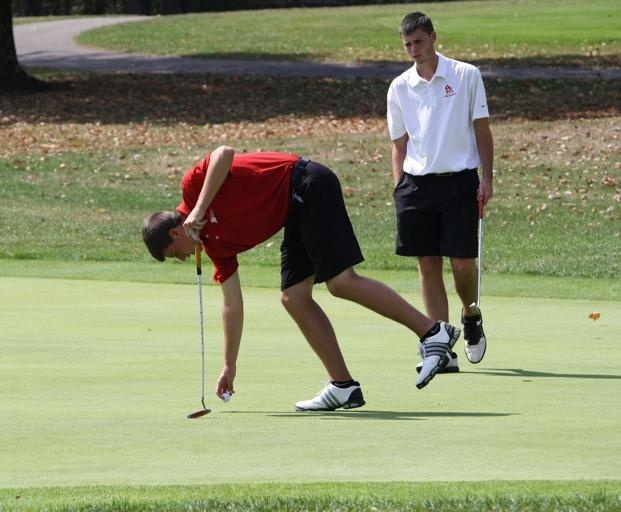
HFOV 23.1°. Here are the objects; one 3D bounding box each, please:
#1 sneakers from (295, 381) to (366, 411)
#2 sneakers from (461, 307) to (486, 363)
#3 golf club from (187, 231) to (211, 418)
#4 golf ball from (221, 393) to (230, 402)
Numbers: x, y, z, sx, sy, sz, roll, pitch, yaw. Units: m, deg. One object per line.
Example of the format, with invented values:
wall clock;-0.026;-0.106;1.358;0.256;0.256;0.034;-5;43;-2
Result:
sneakers;0.157;0.908;9.765;0.523;0.220;0.171;-1;-10;-1
sneakers;1.148;0.551;10.738;0.146;0.415;0.170;-12;-29;27
golf club;-0.736;0.470;9.986;0.088;1.217;0.219;-1;-4;-32
golf ball;-0.538;0.907;9.719;0.044;0.065;0.088;1;15;4
